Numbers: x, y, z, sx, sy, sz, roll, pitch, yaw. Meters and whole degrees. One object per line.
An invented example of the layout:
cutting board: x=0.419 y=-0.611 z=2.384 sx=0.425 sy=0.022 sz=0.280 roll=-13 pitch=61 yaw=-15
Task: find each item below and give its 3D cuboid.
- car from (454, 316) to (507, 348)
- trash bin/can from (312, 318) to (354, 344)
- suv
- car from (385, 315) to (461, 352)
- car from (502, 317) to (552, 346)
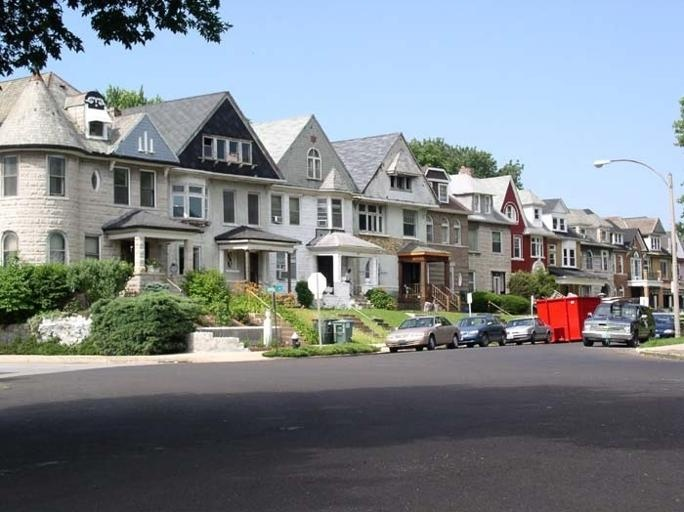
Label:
car: x=7.668 y=4.010 z=39.308 sx=1.349 sy=1.146 sz=3.063 roll=-5 pitch=-10 yaw=27
trash bin/can: x=-0.438 y=3.677 z=37.042 sx=1.394 sy=0.933 sz=1.464 roll=-3 pitch=-8 yaw=22
suv: x=14.106 y=3.345 z=36.696 sx=3.930 sy=2.425 sz=2.354 roll=6 pitch=-9 yaw=-41
car: x=4.038 y=3.736 z=35.745 sx=1.674 sy=1.600 sz=4.103 roll=-6 pitch=-9 yaw=42
car: x=10.601 y=4.241 z=41.848 sx=3.091 sy=1.537 sz=1.493 roll=6 pitch=-9 yaw=-39
